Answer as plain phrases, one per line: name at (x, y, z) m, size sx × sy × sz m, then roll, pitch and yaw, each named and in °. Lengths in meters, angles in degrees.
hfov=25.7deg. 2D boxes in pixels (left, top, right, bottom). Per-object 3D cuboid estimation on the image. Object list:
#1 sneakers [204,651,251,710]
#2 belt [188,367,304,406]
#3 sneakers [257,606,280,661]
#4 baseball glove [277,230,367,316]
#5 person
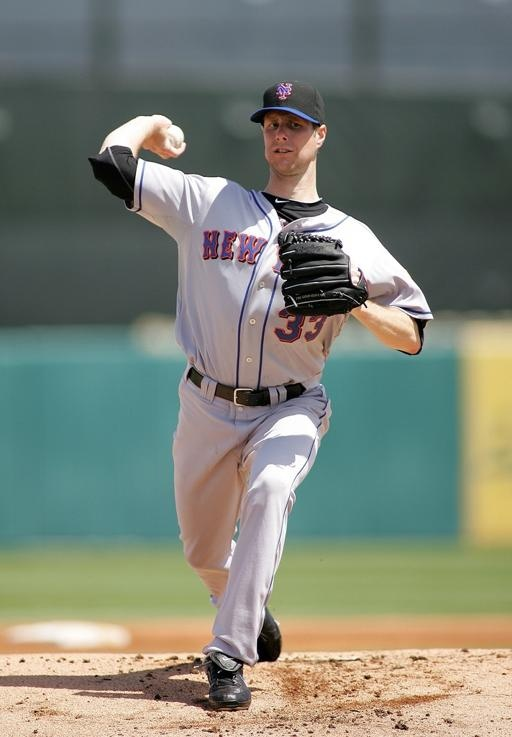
sneakers at (-0.084, 0.855, 3.115) m, size 0.144 × 0.147 × 0.125 m, roll 0°, pitch -2°, yaw 12°
belt at (-0.005, 0.071, 3.365) m, size 0.305 × 0.089 × 0.095 m, roll 0°, pitch -2°, yaw 0°
sneakers at (0.050, 0.865, 3.668) m, size 0.066 × 0.176 × 0.139 m, roll -3°, pitch 2°, yaw 13°
baseball glove at (0.182, -0.259, 3.195) m, size 0.208 × 0.243 × 0.106 m, roll -5°, pitch 3°, yaw 2°
person at (0.022, 0.032, 3.351) m, size 0.971 × 1.809 × 0.561 m, roll 0°, pitch -2°, yaw 9°
